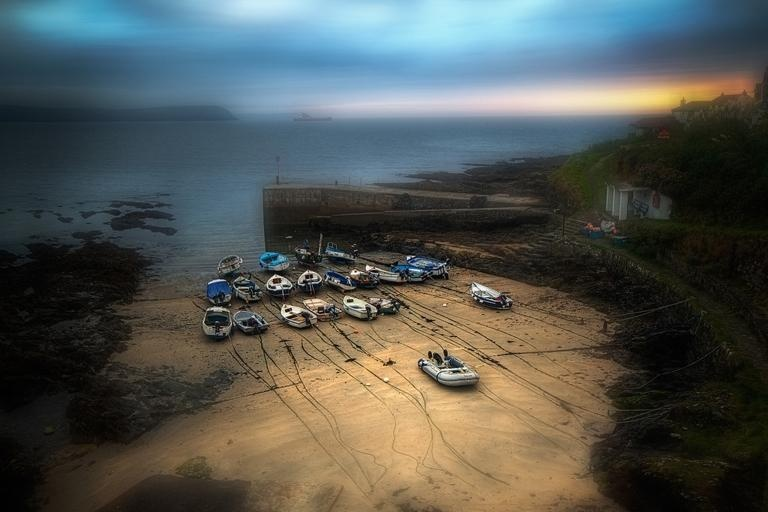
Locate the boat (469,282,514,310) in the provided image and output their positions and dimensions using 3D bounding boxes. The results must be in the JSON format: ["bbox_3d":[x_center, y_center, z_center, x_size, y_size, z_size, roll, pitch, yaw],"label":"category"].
[{"bbox_3d":[7.858,2.965,35.149,2.215,0.886,3.031,-4,16,-17],"label":"boat"}]
